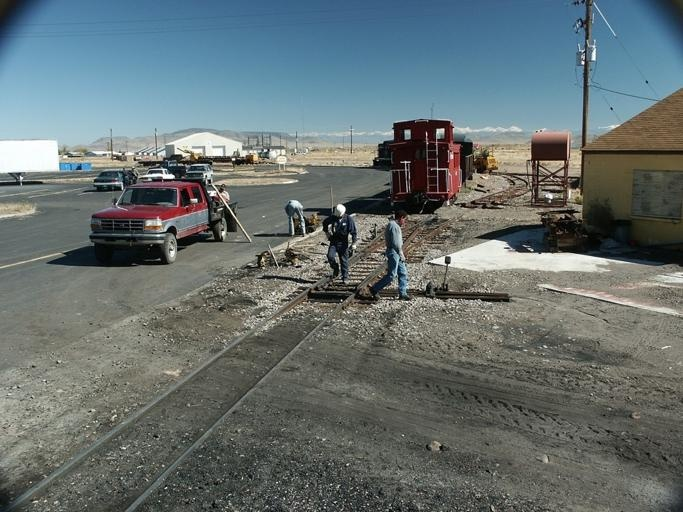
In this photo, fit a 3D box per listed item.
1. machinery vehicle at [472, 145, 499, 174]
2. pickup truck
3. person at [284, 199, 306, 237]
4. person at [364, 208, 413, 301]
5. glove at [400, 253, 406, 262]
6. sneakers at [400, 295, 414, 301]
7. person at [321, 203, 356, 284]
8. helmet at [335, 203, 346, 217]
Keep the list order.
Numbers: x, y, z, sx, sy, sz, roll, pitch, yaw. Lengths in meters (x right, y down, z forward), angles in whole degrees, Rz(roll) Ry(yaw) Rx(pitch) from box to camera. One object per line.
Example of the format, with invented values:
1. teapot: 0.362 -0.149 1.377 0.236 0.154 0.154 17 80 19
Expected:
1. machinery vehicle: 18.064 -11.840 59.329 2.610 2.569 6.142 3 13 16
2. pickup truck: -6.603 -1.394 18.240 3.301 2.234 6.118 1 8 11
3. person: -2.008 -1.389 20.301 0.858 2.094 0.656 -2 28 -1
4. person: 1.239 -0.038 11.774 0.899 2.207 1.068 0 14 7
5. glove: 1.554 0.047 12.146 0.099 0.129 0.422 24 16 3
6. sneakers: 1.600 1.039 11.758 0.334 0.196 0.119 -8 13 -1
7. person: -0.040 -0.362 13.030 0.850 2.145 1.474 -1 14 2
8. helmet: -0.049 -1.200 12.554 0.246 0.301 0.645 -2 13 -1
